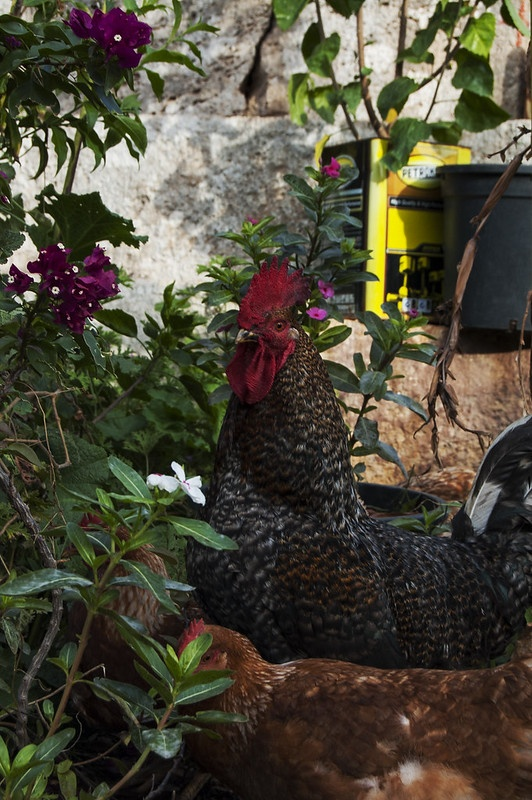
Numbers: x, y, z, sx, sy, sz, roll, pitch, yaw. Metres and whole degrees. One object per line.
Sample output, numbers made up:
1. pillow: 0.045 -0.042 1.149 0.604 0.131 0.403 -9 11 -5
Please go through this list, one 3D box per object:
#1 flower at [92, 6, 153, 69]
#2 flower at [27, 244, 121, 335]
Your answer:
1. flower: -0.310 -0.773 1.625 0.119 0.117 0.104 3 10 -13
2. flower: -0.422 -0.244 1.695 0.170 0.200 0.206 8 10 10
